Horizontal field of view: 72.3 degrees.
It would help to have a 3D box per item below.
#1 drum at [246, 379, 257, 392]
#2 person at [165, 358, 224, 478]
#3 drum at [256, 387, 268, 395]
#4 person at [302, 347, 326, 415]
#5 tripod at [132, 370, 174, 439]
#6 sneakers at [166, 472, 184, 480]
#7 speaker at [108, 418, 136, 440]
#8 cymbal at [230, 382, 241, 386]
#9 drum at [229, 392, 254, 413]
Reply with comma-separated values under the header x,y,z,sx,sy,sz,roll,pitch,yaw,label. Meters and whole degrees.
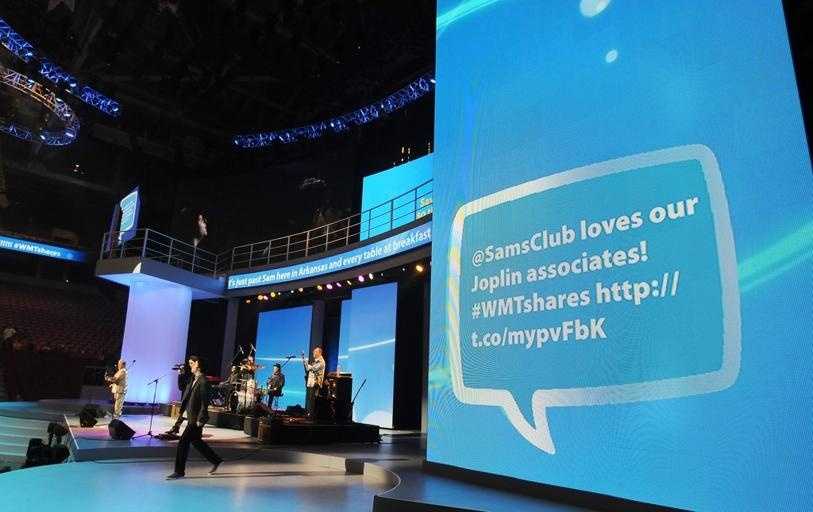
x,y,z,sx,sy,sz,roll,pitch,yaw,label
-4.243,3.544,15.232,0.240,0.123,0.319,1,-1,27,drum
-3.700,2.822,9.856,0.794,2.027,1.119,4,-7,-16,person
-3.881,3.663,14.832,0.241,0.220,0.740,4,-7,-16,drum
-2.227,3.033,13.350,0.500,1.644,1.084,3,-7,-9,person
-7.353,4.242,15.869,0.900,1.946,1.004,-21,-38,24,tripod
-3.927,3.706,9.352,0.254,0.096,0.102,11,-17,-26,sneakers
-5.874,3.531,11.314,0.423,0.463,0.600,10,-13,-43,speaker
-4.859,3.608,15.648,0.232,0.076,0.176,-3,-5,39,cymbal
-4.595,3.968,15.283,1.052,0.588,0.349,-4,-9,40,drum
